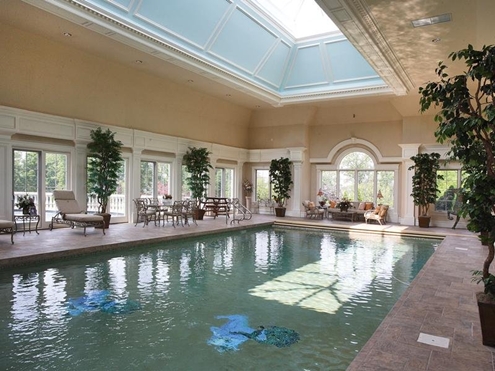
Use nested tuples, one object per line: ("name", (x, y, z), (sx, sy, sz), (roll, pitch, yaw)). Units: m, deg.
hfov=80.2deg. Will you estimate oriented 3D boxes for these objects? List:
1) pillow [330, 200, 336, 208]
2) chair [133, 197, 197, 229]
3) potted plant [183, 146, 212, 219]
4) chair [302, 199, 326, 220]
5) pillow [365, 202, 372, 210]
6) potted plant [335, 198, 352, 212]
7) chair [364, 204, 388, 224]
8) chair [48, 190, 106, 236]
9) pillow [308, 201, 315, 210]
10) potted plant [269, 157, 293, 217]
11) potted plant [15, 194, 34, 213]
("pillow", (4.566, 0.995, 15.721), (0.277, 0.319, 0.128), (10, 15, 28))
("chair", (-3.433, 1.068, 12.152), (2.340, 1.033, 2.415), (1, 2, -22))
("potted plant", (-2.459, -0.182, 14.381), (1.224, 3.422, 1.308), (2, 2, 4))
("chair", (3.452, 1.314, 15.640), (1.218, 1.049, 0.860), (-1, 0, 32))
("pillow", (6.106, 1.039, 14.885), (0.167, 0.270, 0.319), (-10, 1, -26))
("potted plant", (4.915, 0.972, 14.904), (0.714, 0.676, 0.621), (2, -3, -10))
("chair", (6.117, 1.347, 13.869), (1.122, 0.937, 0.975), (-2, -2, 28))
("chair", (-5.572, 0.850, 9.655), (1.369, 1.367, 2.113), (1, 2, -44))
("pillow", (3.336, 1.028, 15.283), (0.343, 0.223, 0.467), (3, 2, 10))
("potted plant", (1.858, 0.069, 16.306), (1.310, 3.236, 0.868), (2, 2, 2))
("potted plant", (-6.686, 0.595, 8.890), (0.393, 0.496, 0.443), (2, 2, -7))
